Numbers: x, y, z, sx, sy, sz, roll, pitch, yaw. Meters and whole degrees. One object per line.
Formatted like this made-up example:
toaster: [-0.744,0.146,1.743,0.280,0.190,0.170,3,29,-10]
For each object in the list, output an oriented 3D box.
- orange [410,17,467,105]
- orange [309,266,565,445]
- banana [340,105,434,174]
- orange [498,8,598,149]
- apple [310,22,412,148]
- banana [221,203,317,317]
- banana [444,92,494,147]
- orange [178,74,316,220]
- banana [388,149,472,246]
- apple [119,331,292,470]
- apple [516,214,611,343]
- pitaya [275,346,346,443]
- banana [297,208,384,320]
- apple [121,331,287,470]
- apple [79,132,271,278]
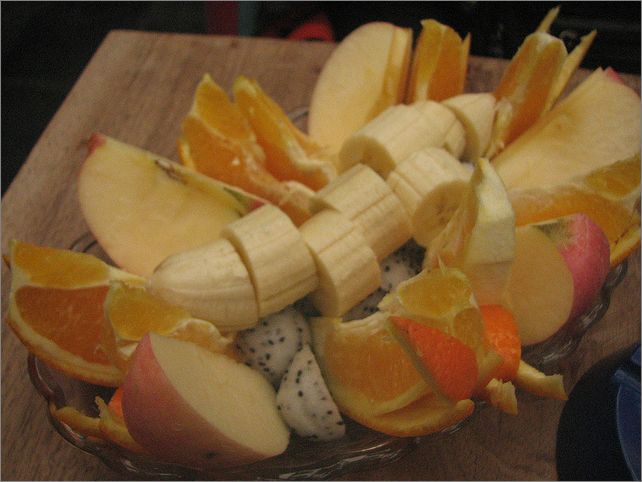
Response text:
orange: [0.200,-0.295,1.268,0.090,0.111,0.111,9,57,6]
orange: [0.165,0.160,1.055,0.362,0.174,0.186,-3,56,-2]
banana: [0.129,-0.182,1.205,0.119,0.106,0.089,-32,46,-25]
orange: [0.366,-0.272,1.328,0.179,0.236,0.130,-8,34,-13]
apple: [0.044,-0.281,1.339,0.203,0.213,0.132,-20,31,-33]
banana: [-0.074,0.020,1.180,0.163,0.139,0.131,-19,37,-27]
banana: [0.239,-0.213,1.263,0.050,0.086,0.097,10,24,17]
orange: [-0.108,-0.125,1.224,0.171,0.218,0.250,-18,38,-25]
banana: [0.168,-0.077,1.202,0.109,0.137,0.187,-5,26,-8]
apple: [-0.165,0.229,1.091,0.190,0.212,0.124,34,84,9]
apple: [0.350,0.044,1.178,0.134,0.166,0.191,9,28,18]
pitaya: [-0.026,0.233,1.121,0.088,0.082,0.163,-17,64,-14]
banana: [0.029,0.033,1.108,0.057,0.120,0.108,-26,34,-15]
apple: [-0.166,0.226,1.048,0.226,0.149,0.140,0,56,0]
apple: [-0.270,-0.054,1.278,0.311,0.214,0.241,-19,33,-28]
